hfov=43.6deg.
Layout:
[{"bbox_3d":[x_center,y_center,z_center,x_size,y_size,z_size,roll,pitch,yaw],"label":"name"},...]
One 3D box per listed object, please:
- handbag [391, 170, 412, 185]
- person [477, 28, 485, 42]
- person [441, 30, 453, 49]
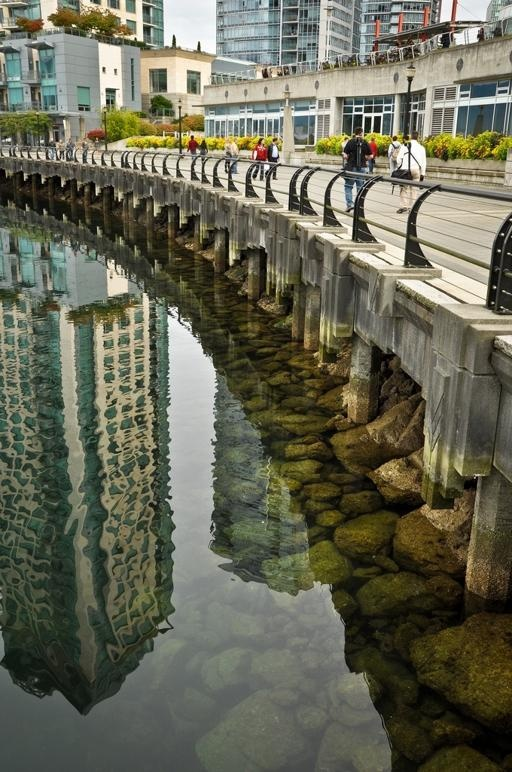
[{"bbox_3d":[3.329,-4.816,14.521,0.391,0.189,0.744,5,18,17],"label":"handbag"},{"bbox_3d":[12.442,-19.292,35.110,0.274,0.708,0.674,-2,17,-4],"label":"person"},{"bbox_3d":[11.474,-20.775,38.422,0.407,1.053,0.772,3,12,-31],"label":"person"}]
